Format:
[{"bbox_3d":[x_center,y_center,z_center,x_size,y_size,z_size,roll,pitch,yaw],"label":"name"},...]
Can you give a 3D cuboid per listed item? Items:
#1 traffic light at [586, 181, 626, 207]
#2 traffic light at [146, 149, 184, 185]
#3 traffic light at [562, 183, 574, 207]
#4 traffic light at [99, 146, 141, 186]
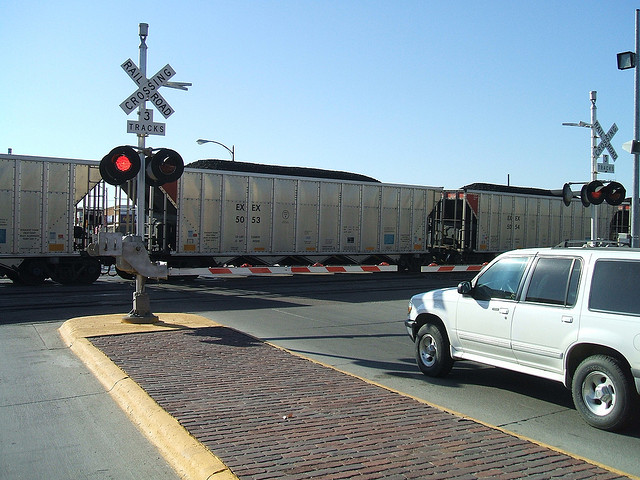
[{"bbox_3d":[9.109,-1.477,14.730,1.453,0.540,0.603,4,-1,-26],"label":"traffic light"},{"bbox_3d":[-3.165,-1.485,9.638,0.409,0.412,0.124,-26,17,-19],"label":"traffic light"},{"bbox_3d":[7.846,-1.437,14.756,0.220,0.520,0.607,3,-1,32],"label":"traffic light"},{"bbox_3d":[-4.013,-1.484,9.317,0.757,0.824,0.387,4,-1,-15],"label":"traffic light"}]
